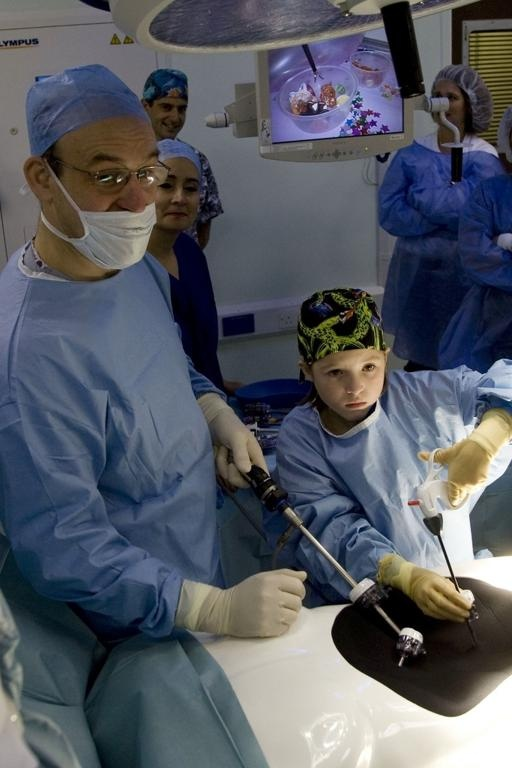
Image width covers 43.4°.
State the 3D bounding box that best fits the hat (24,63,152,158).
[{"bbox_3d":[-0.260,-0.426,1.059,0.160,0.122,0.116,-1,4,10],"label":"hat"}]

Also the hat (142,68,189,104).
[{"bbox_3d":[-0.374,-1.208,2.603,0.151,0.096,0.145,2,21,-2],"label":"hat"}]

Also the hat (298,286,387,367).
[{"bbox_3d":[0.187,-0.130,1.375,0.136,0.107,0.152,2,-9,32],"label":"hat"}]

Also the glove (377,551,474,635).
[{"bbox_3d":[0.265,0.320,1.026,0.083,0.075,0.213,-8,15,-19],"label":"glove"}]

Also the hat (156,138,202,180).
[{"bbox_3d":[-0.250,-0.717,2.069,0.166,0.112,0.198,6,1,-7],"label":"hat"}]

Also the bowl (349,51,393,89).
[{"bbox_3d":[0.354,-0.963,1.977,0.125,0.116,0.075,-9,-16,-1],"label":"bowl"}]
